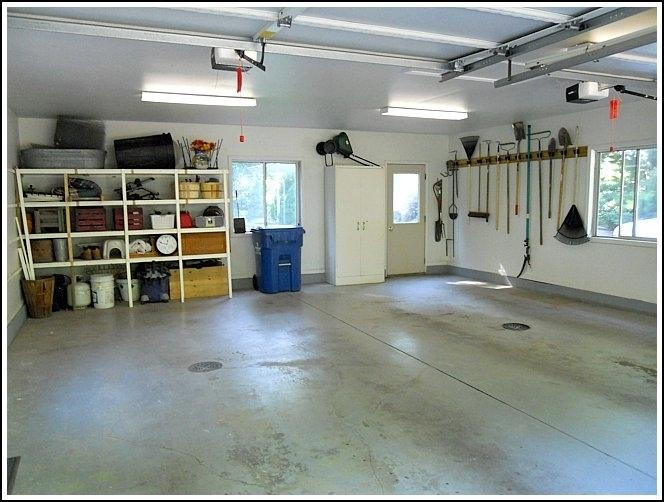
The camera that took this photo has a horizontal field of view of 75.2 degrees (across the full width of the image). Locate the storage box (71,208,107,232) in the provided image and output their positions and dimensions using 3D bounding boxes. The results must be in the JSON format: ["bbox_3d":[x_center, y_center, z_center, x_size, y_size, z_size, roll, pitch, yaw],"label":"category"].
[{"bbox_3d":[-4.012,-0.513,7.198,0.464,0.326,0.478,-1,3,-17],"label":"storage box"}]

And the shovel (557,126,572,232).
[{"bbox_3d":[4.148,-1.248,7.727,0.226,1.807,0.165,-1,8,22],"label":"shovel"}]

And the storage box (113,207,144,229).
[{"bbox_3d":[-3.481,-0.509,7.447,0.511,0.475,0.368,-1,1,-28],"label":"storage box"}]

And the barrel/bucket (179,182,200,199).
[{"bbox_3d":[-2.521,-1.048,7.647,0.318,0.221,0.310,0,-1,0],"label":"barrel/bucket"}]

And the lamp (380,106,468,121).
[{"bbox_3d":[1.675,-2.461,7.749,1.626,0.172,0.349,-6,7,-24],"label":"lamp"}]

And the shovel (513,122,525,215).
[{"bbox_3d":[3.669,-1.581,8.524,0.208,1.794,0.249,-9,9,-34],"label":"shovel"}]

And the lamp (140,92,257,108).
[{"bbox_3d":[-1.976,-2.222,6.479,1.640,0.225,0.107,-5,44,-17],"label":"lamp"}]

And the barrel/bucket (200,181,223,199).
[{"bbox_3d":[-2.161,-1.046,7.752,0.330,0.205,0.326,0,1,0],"label":"barrel/bucket"}]

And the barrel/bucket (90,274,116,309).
[{"bbox_3d":[-3.857,0.695,7.295,0.352,0.564,0.291,-8,8,-30],"label":"barrel/bucket"}]

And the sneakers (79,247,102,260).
[{"bbox_3d":[-4.109,0.050,7.364,0.281,0.191,0.279,2,3,27],"label":"sneakers"}]

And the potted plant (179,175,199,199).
[{"bbox_3d":[-2.533,-1.117,7.844,0.444,0.313,0.438,0,-1,2],"label":"potted plant"}]

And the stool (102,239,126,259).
[{"bbox_3d":[-3.728,-0.021,7.372,0.328,0.310,0.361,2,-3,-37],"label":"stool"}]

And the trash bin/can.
[{"bbox_3d":[-1.017,0.189,8.397,0.993,1.269,0.455,-4,7,-6],"label":"trash bin/can"}]

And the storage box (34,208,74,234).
[{"bbox_3d":[-4.558,-0.492,7.103,0.452,0.337,0.464,6,9,36],"label":"storage box"}]

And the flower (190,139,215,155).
[{"bbox_3d":[-2.367,-1.829,7.762,0.378,0.241,0.367,1,-2,40],"label":"flower"}]

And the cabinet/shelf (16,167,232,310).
[{"bbox_3d":[-3.639,-0.178,7.369,2.572,1.758,0.613,-2,2,-25],"label":"cabinet/shelf"}]

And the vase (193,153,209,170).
[{"bbox_3d":[-2.304,-1.549,7.680,0.292,0.263,0.282,2,2,30],"label":"vase"}]
